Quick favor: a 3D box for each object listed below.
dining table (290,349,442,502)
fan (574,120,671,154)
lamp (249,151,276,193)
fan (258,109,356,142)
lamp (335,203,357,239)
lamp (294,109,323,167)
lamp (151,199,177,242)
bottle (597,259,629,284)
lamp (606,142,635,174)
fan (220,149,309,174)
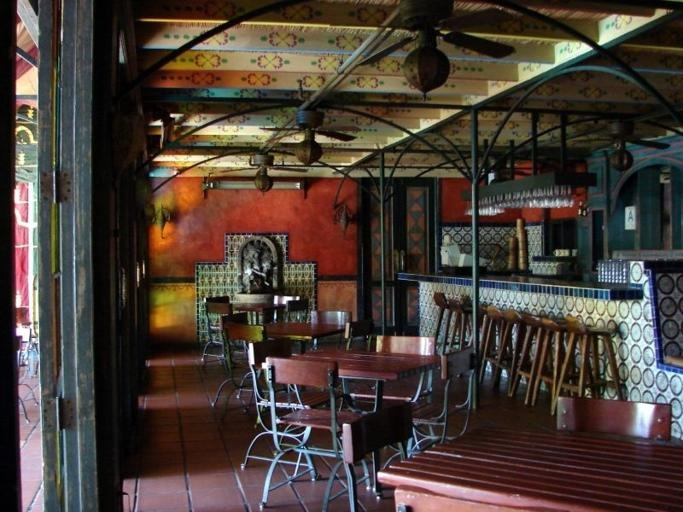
[{"bbox_3d":[0.212,1.309,5.541,1.103,1.021,1.115,-1,-2,42],"label":"dining table"},{"bbox_3d":[3.649,-1.540,8.136,1.092,0.406,1.148,3,5,20],"label":"fan"},{"bbox_3d":[-1.059,-1.118,8.517,0.279,0.419,1.303,-2,1,-7],"label":"lamp"},{"bbox_3d":[-0.414,-1.631,7.814,0.990,0.259,0.966,-1,1,-20],"label":"fan"},{"bbox_3d":[0.095,-0.752,13.215,0.521,0.604,0.214,0,11,-20],"label":"lamp"},{"bbox_3d":[-0.286,-1.128,5.880,0.252,0.388,0.591,-2,1,-2],"label":"lamp"},{"bbox_3d":[-3.425,-0.776,12.437,0.502,0.665,0.241,0,1,-32],"label":"lamp"},{"bbox_3d":[3.143,0.160,7.399,0.223,0.247,0.418,0,1,-14],"label":"bottle"},{"bbox_3d":[3.523,-1.269,8.057,0.214,0.363,0.513,-2,1,21],"label":"lamp"},{"bbox_3d":[-1.236,-1.513,10.000,1.017,0.164,1.010,0,2,10],"label":"fan"}]
